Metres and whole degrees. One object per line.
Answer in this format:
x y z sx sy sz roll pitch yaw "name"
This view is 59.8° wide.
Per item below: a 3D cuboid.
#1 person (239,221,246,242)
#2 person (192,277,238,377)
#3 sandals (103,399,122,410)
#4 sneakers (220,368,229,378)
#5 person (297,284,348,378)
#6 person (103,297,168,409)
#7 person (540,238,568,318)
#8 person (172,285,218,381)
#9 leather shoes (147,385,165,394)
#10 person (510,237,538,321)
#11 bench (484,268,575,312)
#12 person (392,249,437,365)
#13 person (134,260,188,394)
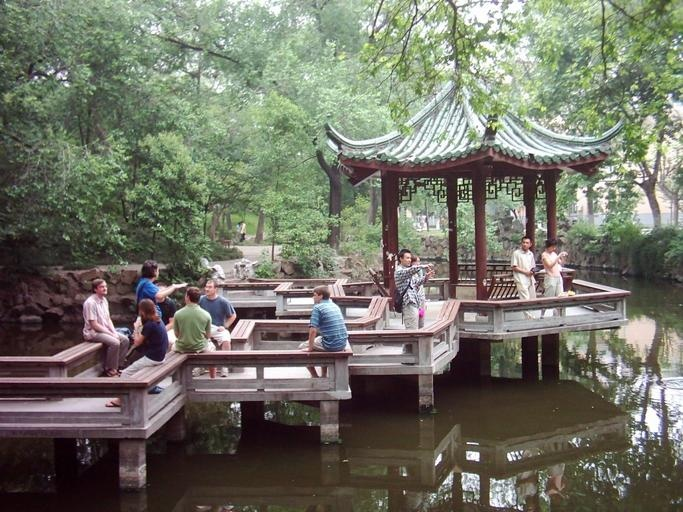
-6.889 -1.800 41.257 0.410 1.490 2.641 -2 10 -10 "person"
-2.276 1.265 10.448 0.961 1.587 0.961 -8 12 -38 "person"
-3.397 2.208 8.843 0.311 0.121 0.179 8 -10 3 "sandals"
-2.027 2.006 10.290 0.150 0.124 0.259 -2 -2 1 "sneakers"
-0.196 1.007 9.529 0.685 1.073 0.336 -2 10 -9 "person"
-3.158 1.366 9.313 0.836 1.619 1.069 -3 10 -16 "person"
4.485 0.209 12.637 0.469 1.267 1.222 3 10 19 "person"
-2.479 1.336 9.986 0.791 1.558 0.856 2 -4 -9 "person"
-2.846 2.064 9.183 0.105 0.124 0.280 5 7 30 "leather shoes"
3.807 0.241 12.383 0.490 1.318 1.220 3 10 18 "person"
4.154 0.750 13.398 1.901 0.838 0.704 6 -4 -18 "bench"
1.334 0.818 11.123 0.667 1.917 1.038 1 10 7 "person"
-3.100 1.035 10.120 1.051 1.802 0.680 9 2 3 "person"
